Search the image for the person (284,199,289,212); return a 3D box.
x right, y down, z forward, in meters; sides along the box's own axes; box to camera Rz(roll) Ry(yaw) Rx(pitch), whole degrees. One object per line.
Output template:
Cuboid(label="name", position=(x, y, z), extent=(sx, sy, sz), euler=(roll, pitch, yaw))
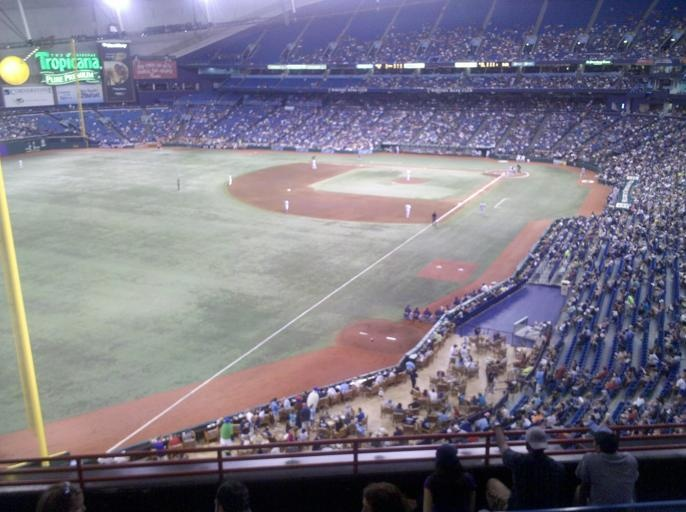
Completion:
Cuboid(label="person", position=(-5.039, -4.520, 64.133), extent=(0.408, 1.061, 0.864), euler=(10, 35, 3))

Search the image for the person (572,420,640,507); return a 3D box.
Cuboid(label="person", position=(6.618, 5.449, 18.073), extent=(1.463, 1.894, 0.941), euler=(3, 18, 12))
